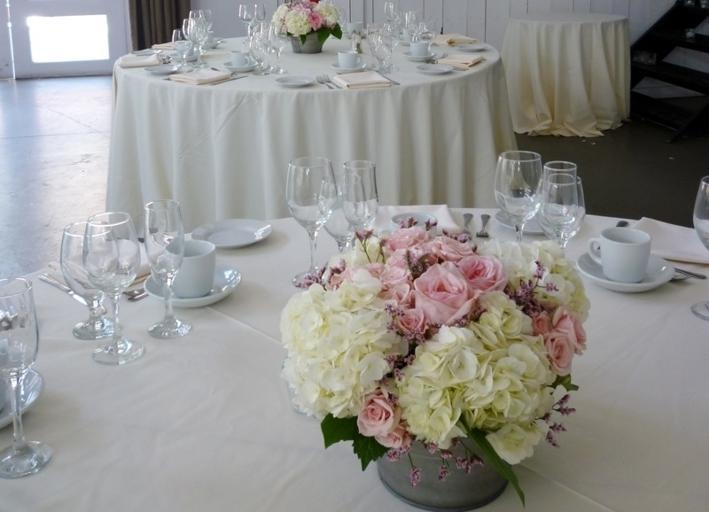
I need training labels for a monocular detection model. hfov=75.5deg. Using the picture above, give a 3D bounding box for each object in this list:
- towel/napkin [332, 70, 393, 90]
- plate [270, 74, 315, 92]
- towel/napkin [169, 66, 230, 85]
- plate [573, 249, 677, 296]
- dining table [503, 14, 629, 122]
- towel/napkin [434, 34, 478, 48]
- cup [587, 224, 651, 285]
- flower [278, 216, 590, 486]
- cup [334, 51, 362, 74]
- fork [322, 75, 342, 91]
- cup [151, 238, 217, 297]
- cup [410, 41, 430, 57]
[{"bbox_3d":[0.043,-0.932,2.423,0.277,0.072,0.289,-15,26,-25],"label":"towel/napkin"},{"bbox_3d":[-0.303,-0.939,2.456,0.211,0.063,0.324,-6,24,-7],"label":"plate"},{"bbox_3d":[-0.807,-0.967,2.469,0.281,0.072,0.263,13,28,32],"label":"towel/napkin"},{"bbox_3d":[0.617,0.040,1.056,0.126,0.036,0.133,-11,26,-21],"label":"plate"},{"bbox_3d":[2.276,-1.926,4.910,1.283,1.182,0.462,2,22,11],"label":"dining table"},{"bbox_3d":[0.754,-1.625,3.457,0.288,0.088,0.304,19,27,37],"label":"towel/napkin"},{"bbox_3d":[0.596,0.008,1.077,0.128,0.112,0.112,-6,23,9],"label":"cup"},{"bbox_3d":[0.102,0.102,0.641,0.305,0.365,0.225,-7,6,-1],"label":"flower"},{"bbox_3d":[-0.043,-1.110,2.679,0.158,0.137,0.132,13,32,17],"label":"cup"},{"bbox_3d":[-0.118,-0.912,2.425,0.053,0.027,0.211,-21,35,-9],"label":"fork"},{"bbox_3d":[-0.359,0.033,1.007,0.130,0.114,0.108,-10,38,-18],"label":"cup"},{"bbox_3d":[0.428,-1.294,2.928,0.102,0.111,0.144,-3,18,3],"label":"cup"}]
